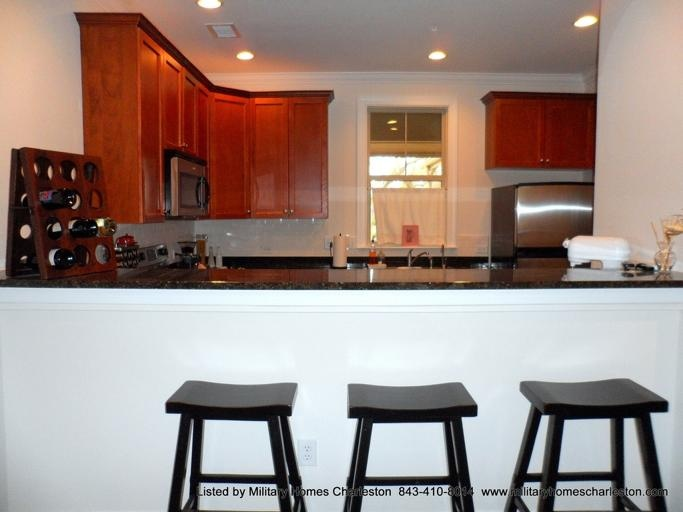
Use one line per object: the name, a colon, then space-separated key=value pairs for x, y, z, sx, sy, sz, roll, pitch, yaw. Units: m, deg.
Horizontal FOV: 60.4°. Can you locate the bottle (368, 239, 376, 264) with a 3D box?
bottle: x=0.293 y=-0.042 z=5.422 sx=0.086 sy=0.210 sz=0.193 roll=0 pitch=4 yaw=3

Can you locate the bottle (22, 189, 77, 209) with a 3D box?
bottle: x=-1.360 y=-0.270 z=2.784 sx=0.334 sy=0.108 sz=0.103 roll=2 pitch=5 yaw=27

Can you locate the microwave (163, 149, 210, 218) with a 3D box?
microwave: x=-1.154 y=-0.504 z=4.390 sx=0.184 sy=0.415 sz=0.637 roll=1 pitch=3 yaw=8

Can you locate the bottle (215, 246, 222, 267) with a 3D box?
bottle: x=-1.120 y=-0.001 z=5.374 sx=0.055 sy=0.170 sz=0.285 roll=-1 pitch=5 yaw=-11

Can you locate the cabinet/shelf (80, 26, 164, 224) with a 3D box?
cabinet/shelf: x=-1.378 y=-0.845 z=3.744 sx=0.489 sy=1.245 sz=0.303 roll=-2 pitch=4 yaw=-24

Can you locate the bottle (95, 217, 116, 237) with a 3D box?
bottle: x=-1.154 y=-0.146 z=2.890 sx=0.087 sy=0.087 sz=0.078 roll=-1 pitch=6 yaw=-13

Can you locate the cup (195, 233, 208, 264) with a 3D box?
cup: x=-1.260 y=-0.060 z=5.326 sx=0.110 sy=0.270 sz=0.505 roll=-2 pitch=5 yaw=-13

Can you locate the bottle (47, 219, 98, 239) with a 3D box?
bottle: x=-1.290 y=-0.134 z=2.828 sx=0.234 sy=0.102 sz=0.088 roll=-4 pitch=5 yaw=-34

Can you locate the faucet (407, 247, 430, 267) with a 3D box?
faucet: x=0.695 y=0.009 z=5.425 sx=0.261 sy=0.170 sz=0.112 roll=-4 pitch=5 yaw=-34

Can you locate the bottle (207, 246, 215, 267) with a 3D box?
bottle: x=-1.193 y=0.001 z=5.410 sx=0.071 sy=0.180 sz=0.262 roll=-2 pitch=4 yaw=-13

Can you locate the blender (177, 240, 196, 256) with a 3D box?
blender: x=-1.263 y=-0.070 z=4.767 sx=0.160 sy=0.119 sz=0.152 roll=0 pitch=-2 yaw=1

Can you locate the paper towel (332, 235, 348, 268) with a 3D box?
paper towel: x=-0.006 y=-0.054 z=5.344 sx=0.155 sy=0.300 sz=0.301 roll=-1 pitch=4 yaw=1

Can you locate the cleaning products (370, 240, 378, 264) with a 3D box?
cleaning products: x=0.299 y=-0.039 z=5.416 sx=0.097 sy=0.225 sz=0.211 roll=-1 pitch=4 yaw=0
